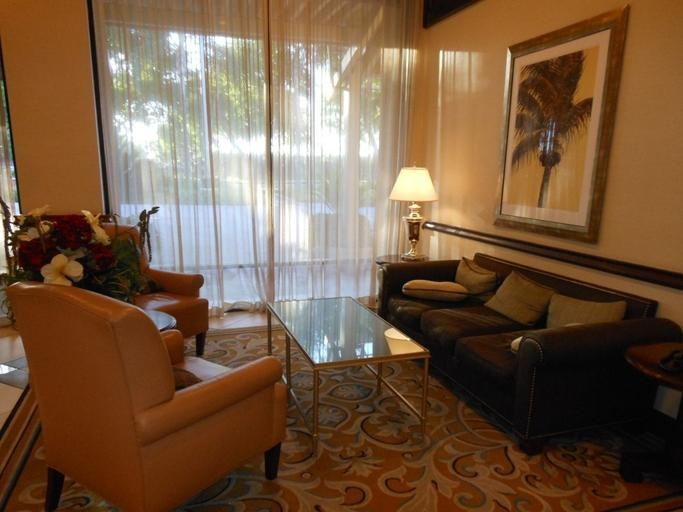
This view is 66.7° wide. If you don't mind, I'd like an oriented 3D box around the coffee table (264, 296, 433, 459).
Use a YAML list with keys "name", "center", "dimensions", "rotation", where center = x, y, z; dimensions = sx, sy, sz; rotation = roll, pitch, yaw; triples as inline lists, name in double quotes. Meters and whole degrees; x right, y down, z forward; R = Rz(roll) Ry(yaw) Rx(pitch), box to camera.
- name: "coffee table"
  center: [0.028, 0.513, 3.669]
  dimensions: [0.825, 0.642, 1.525]
  rotation: [-1, 7, -16]

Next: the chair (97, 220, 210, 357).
- name: "chair"
  center: [-1.700, 0.322, 4.384]
  dimensions: [0.914, 1.159, 0.880]
  rotation: [3, 7, 30]

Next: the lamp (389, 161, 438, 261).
- name: "lamp"
  center: [0.783, -0.458, 5.489]
  dimensions: [0.455, 0.966, 0.798]
  rotation: [0, 12, 10]

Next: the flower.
- name: "flower"
  center: [-1.458, -0.025, 2.957]
  dimensions: [0.539, 0.518, 0.604]
  rotation: [6, 2, -5]
